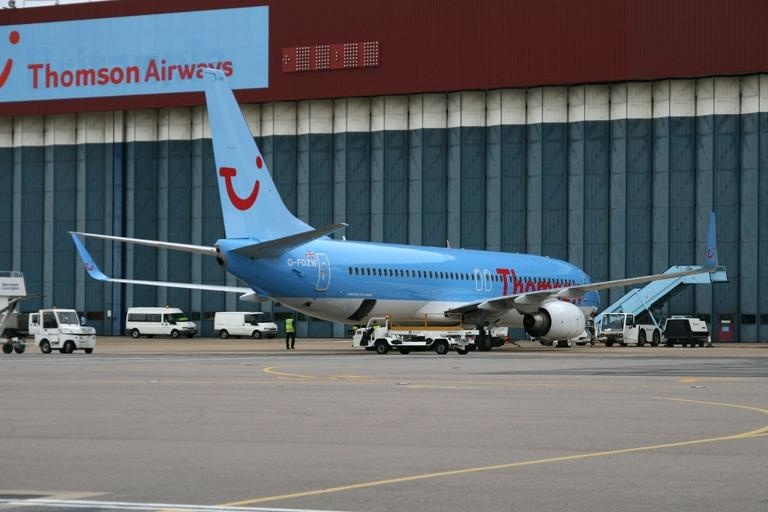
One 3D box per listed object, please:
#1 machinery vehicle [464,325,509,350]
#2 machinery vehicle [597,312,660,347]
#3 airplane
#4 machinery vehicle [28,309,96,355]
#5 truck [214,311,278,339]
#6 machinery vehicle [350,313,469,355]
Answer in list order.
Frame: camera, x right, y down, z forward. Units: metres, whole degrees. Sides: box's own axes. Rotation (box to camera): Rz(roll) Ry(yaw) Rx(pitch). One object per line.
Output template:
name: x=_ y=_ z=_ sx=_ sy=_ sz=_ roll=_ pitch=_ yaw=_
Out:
machinery vehicle: x=5.806 y=4.356 z=75.061 sx=1.624 sy=0.701 sz=2.242 roll=-4 pitch=-7 yaw=43
machinery vehicle: x=15.063 y=4.565 z=85.022 sx=2.308 sy=1.636 sz=4.301 roll=0 pitch=-5 yaw=44
airplane: x=2.154 y=0.599 z=70.922 sx=23.222 sy=7.436 sz=20.121 roll=2 pitch=1 yaw=43
machinery vehicle: x=-16.171 y=3.885 z=69.988 sx=3.173 sy=2.289 sz=1.716 roll=-1 pitch=13 yaw=-4
truck: x=-9.609 y=4.846 z=96.410 sx=3.621 sy=1.352 sz=1.928 roll=-2 pitch=-2 yaw=17
machinery vehicle: x=1.377 y=3.900 z=69.346 sx=5.386 sy=1.797 sz=2.256 roll=0 pitch=5 yaw=7
